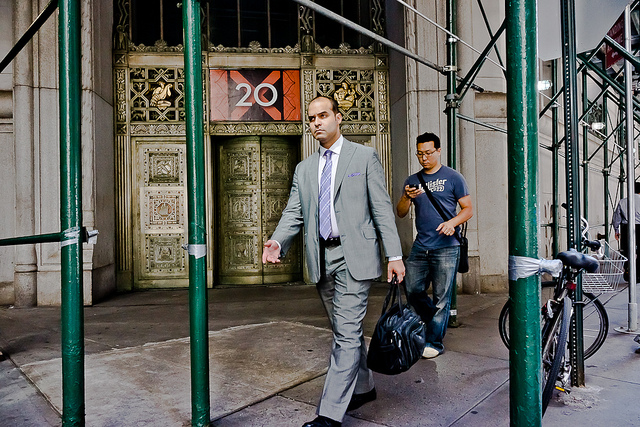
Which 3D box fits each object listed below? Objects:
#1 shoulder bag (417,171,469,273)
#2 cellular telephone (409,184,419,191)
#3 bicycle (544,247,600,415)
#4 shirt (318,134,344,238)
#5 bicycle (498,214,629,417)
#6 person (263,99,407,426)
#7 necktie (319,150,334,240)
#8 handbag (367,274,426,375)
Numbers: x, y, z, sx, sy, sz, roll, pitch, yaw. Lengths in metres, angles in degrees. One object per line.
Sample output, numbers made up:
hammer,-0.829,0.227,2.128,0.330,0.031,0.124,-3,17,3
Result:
shoulder bag,1.693,0.094,8.143,0.785,1.277,0.524,-3,2,-41
cellular telephone,1.124,-0.312,7.629,0.109,0.073,0.280,-1,2,9
bicycle,2.562,1.219,6.616,0.523,1.706,0.731,-1,2,16
shirt,0.074,-0.295,6.637,0.300,1.462,0.182,0,-34,4
bicycle,2.919,1.076,7.158,0.775,1.335,2.063,7,-1,38
person,0.207,0.462,6.604,1.302,3.298,0.740,-1,2,7
necktie,0.060,-0.202,6.653,0.147,0.922,0.117,-1,2,4
handbag,0.817,1.073,6.623,0.490,1.039,0.695,7,23,34
